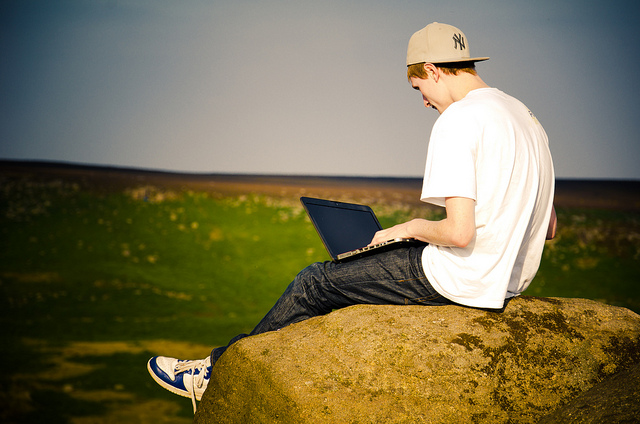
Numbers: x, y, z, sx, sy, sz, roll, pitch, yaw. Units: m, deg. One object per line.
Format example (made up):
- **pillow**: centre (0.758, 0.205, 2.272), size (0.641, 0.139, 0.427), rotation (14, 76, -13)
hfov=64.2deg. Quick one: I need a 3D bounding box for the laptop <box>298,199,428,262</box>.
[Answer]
- **laptop**: centre (0.308, 0.094, 4.213), size (0.545, 0.407, 0.673), rotation (-18, -5, 39)
